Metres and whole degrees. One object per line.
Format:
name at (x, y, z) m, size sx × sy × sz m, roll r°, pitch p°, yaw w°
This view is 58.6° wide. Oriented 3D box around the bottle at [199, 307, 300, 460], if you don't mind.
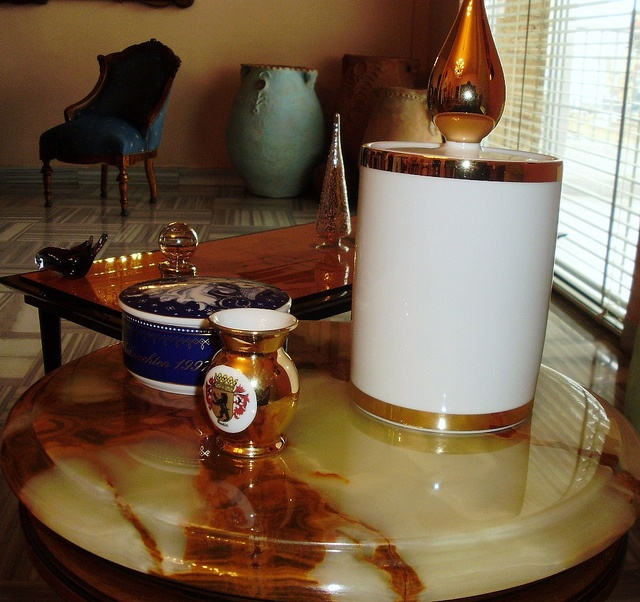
bottle at (-0.043, 0.051, 0.360) m, size 0.063 × 0.078 × 0.062 m, roll 6°, pitch 11°, yaw 24°
